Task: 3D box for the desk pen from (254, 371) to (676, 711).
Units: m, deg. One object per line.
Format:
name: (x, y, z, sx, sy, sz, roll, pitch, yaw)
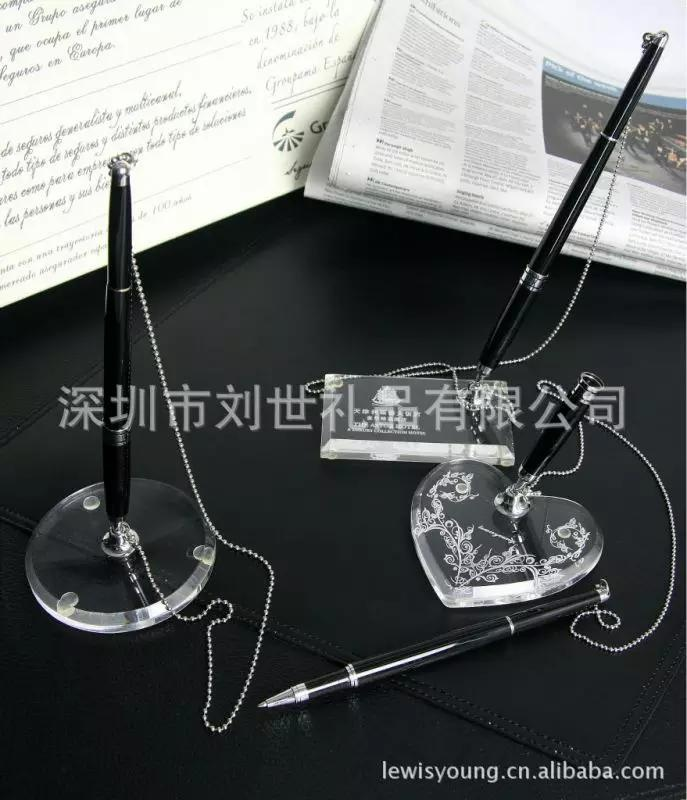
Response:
desk pen: (0.073, 0.116, 0.528, 0.251, 0.081, 0.206, -24, 60, -21)
